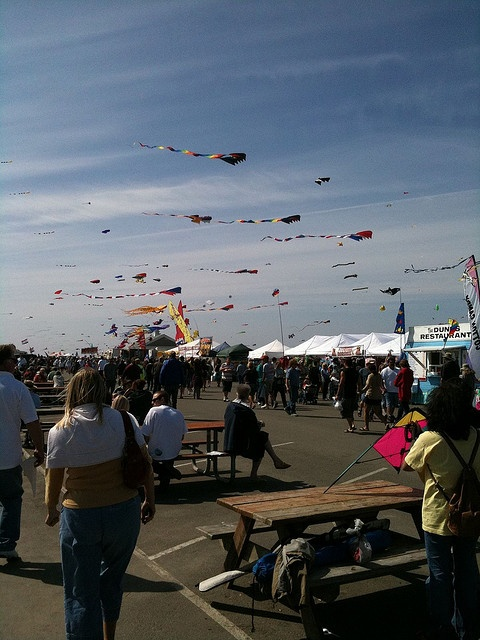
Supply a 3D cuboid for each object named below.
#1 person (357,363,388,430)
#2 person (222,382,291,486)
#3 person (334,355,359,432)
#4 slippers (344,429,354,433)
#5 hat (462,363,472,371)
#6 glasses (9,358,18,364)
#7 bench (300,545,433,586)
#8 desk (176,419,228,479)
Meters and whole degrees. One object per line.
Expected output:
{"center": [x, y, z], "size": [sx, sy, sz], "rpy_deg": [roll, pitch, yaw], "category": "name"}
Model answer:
{"center": [3.119, 1.764, 14.324], "size": [0.829, 1.520, 0.777], "rpy_deg": [2, -6, 12], "category": "person"}
{"center": [0.144, 1.346, 8.109], "size": [0.696, 0.994, 0.419], "rpy_deg": [1, -6, -14], "category": "person"}
{"center": [2.406, 1.670, 13.989], "size": [0.432, 1.646, 0.598], "rpy_deg": [-2, -6, 16], "category": "person"}
{"center": [2.432, 2.447, 13.883], "size": [0.213, 0.082, 0.074], "rpy_deg": [-1, -4, 27], "category": "slippers"}
{"center": [4.838, 1.012, 13.383], "size": [0.205, 0.108, 0.198], "rpy_deg": [-1, 2, -35], "category": "hat"}
{"center": [-1.842, 0.330, 5.067], "size": [0.043, 0.029, 0.046], "rpy_deg": [8, 7, 14], "category": "glasses"}
{"center": [0.832, 1.642, 4.213], "size": [0.717, 0.154, 0.315], "rpy_deg": [-3, 8, -22], "category": "bench"}
{"center": [-0.693, 1.889, 9.487], "size": [0.813, 0.366, 0.802], "rpy_deg": [25, -27, -22], "category": "desk"}
